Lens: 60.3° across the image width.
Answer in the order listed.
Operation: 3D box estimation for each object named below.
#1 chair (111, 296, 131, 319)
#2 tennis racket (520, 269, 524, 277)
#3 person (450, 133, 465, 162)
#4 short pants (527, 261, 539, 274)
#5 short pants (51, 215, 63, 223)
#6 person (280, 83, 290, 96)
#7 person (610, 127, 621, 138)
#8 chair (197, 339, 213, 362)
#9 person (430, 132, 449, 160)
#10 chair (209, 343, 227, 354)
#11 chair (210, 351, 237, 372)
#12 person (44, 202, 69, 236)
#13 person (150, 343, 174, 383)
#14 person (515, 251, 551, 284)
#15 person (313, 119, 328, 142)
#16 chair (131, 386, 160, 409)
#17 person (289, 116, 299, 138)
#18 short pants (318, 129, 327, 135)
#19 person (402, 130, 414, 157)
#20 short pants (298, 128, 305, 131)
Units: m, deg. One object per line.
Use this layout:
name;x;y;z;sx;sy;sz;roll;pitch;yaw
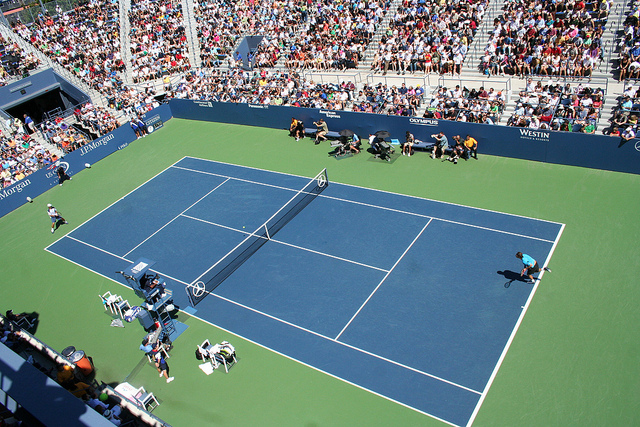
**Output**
chair;-10.404;4.933;28.695;0.652;1.020;0.522;7;35;34
tennis racket;10.033;2.940;27.417;0.120;0.176;0.612;-2;16;21
person;8.768;-4.148;35.150;0.979;1.872;0.814;-21;32;-28
short pants;10.386;2.632;26.930;0.688;0.469;0.537;-3;-17;-39
short pants;-16.634;0.340;34.764;0.559;0.608;0.693;2;13;-30
person;-2.694;-9.479;42.448;0.651;0.548;1.558;-4;52;3
person;17.059;-4.671;31.830;0.564;0.541;0.905;15;12;27
chair;-5.504;6.565;26.327;0.675;0.938;0.891;6;11;-11
person;7.680;-4.302;35.475;1.004;1.777;1.025;10;11;12
chair;-4.790;6.353;25.975;0.778;0.441;0.374;8;11;-9
chair;-4.543;6.882;26.152;1.117;0.842;0.853;23;-20;16
person;-16.862;0.458;35.266;1.450;1.211;2.749;14;-17;-28
person;-7.486;7.012;25.999;1.435;1.521;0.488;16;13;34
person;10.475;2.532;27.069;1.335;1.810;0.748;-16;25;32
person;0.035;-5.864;38.811;1.248;2.248;0.901;2;34;0
chair;-7.882;8.376;25.206;0.841;1.262;0.867;25;43;17
person;-1.892;-6.243;40.009;0.610;1.689;1.025;16;47;14
short pants;0.116;-5.758;39.035;0.511;0.318;0.966;5;13;-24
person;5.837;-4.593;36.401;0.712;1.710;1.401;9;11;8
short pants;-1.386;-6.009;39.632;0.330;0.201;0.083;8;10;1
